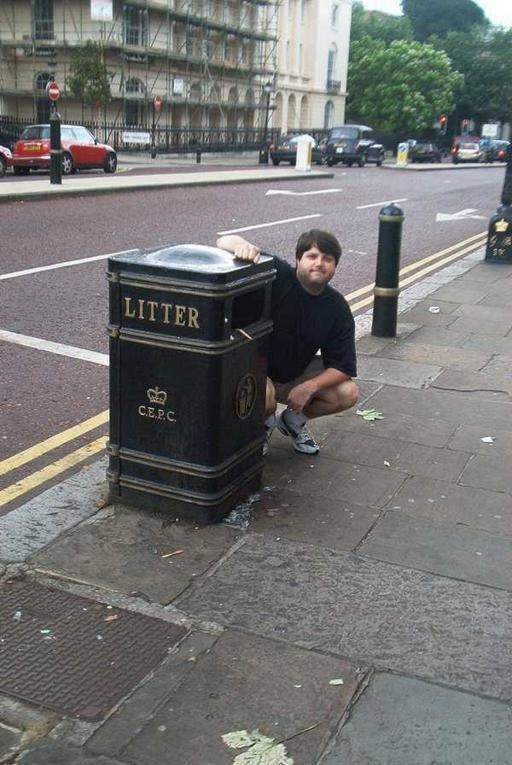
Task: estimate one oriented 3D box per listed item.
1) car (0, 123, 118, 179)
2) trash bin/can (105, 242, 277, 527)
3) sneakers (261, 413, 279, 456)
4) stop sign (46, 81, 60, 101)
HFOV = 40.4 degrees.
[{"bbox_3d":[-6.488,-7.634,22.712,1.970,1.697,3.452,10,15,26],"label":"car"},{"bbox_3d":[-0.301,-0.016,2.853,0.552,1.088,0.549,8,16,17],"label":"trash bin/can"},{"bbox_3d":[0.063,0.265,3.545,0.080,0.224,0.104,19,-32,-19],"label":"sneakers"},{"bbox_3d":[-6.152,-8.907,21.113,0.268,0.508,1.162,-3,14,-20],"label":"stop sign"}]
